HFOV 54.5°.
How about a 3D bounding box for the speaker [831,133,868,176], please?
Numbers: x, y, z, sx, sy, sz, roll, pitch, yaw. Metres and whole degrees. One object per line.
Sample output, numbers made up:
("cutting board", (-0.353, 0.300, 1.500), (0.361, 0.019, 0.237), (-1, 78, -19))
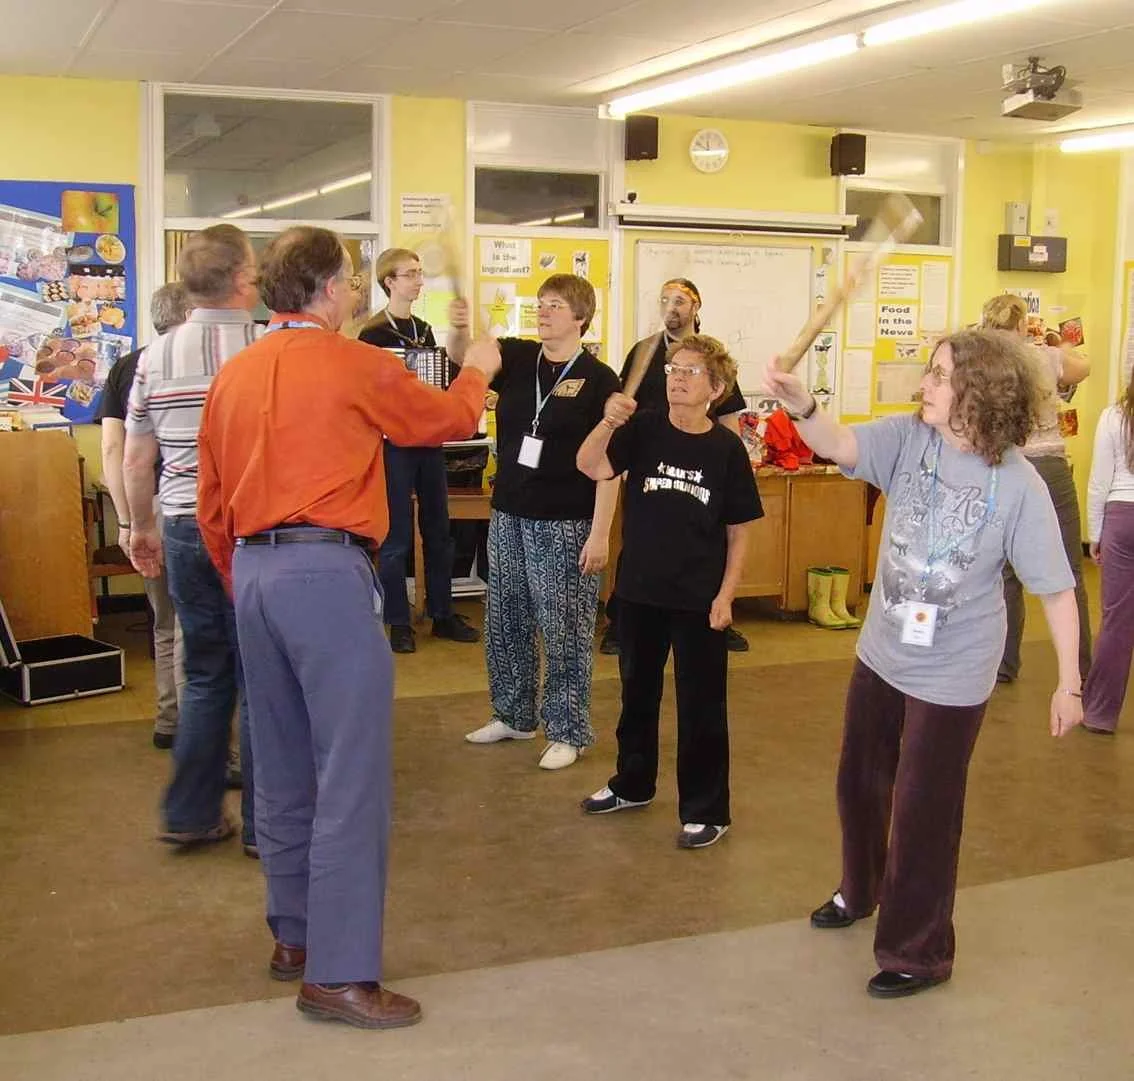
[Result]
("speaker", (2.027, -2.782, 7.931), (0.258, 0.294, 0.166), (1, 8, 4))

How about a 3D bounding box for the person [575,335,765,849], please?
("person", (0.312, 0.152, 3.457), (0.553, 1.568, 0.357), (4, 8, 21))

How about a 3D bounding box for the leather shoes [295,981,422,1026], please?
("leather shoes", (-0.454, 0.978, 2.399), (0.252, 0.099, 0.102), (3, 3, -2))

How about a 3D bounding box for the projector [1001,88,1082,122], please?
("projector", (2.575, -2.383, 6.089), (0.257, 0.053, 0.228), (0, -2, -20))

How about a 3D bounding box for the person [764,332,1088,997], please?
("person", (0.826, 0.279, 2.558), (0.599, 1.527, 0.445), (4, 8, 19))

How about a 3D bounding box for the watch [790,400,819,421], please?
("watch", (0.514, -0.276, 2.408), (0.018, 0.045, 0.048), (41, 31, 8))

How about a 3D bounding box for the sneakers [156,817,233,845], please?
("sneakers", (-1.145, 0.890, 3.376), (0.073, 0.071, 0.193), (8, -2, 30))

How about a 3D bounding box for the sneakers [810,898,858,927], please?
("sneakers", (0.694, 0.971, 2.886), (0.147, 0.052, 0.051), (2, -1, -19))

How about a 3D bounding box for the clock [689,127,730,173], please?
("clock", (0.979, -2.690, 7.612), (0.302, 0.265, 0.060), (-2, 10, -24))

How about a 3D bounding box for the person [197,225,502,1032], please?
("person", (-0.547, 0.181, 2.433), (0.572, 1.723, 0.371), (4, 9, 24))

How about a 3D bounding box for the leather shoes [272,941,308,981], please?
("leather shoes", (-0.655, 0.992, 2.592), (0.058, 0.049, 0.123), (2, 8, -1))

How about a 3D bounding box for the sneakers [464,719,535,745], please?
("sneakers", (-0.286, 0.771, 4.454), (0.297, 0.107, 0.102), (2, 1, -6))

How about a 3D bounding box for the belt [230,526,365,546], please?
("belt", (-0.549, -0.012, 2.299), (0.261, 0.051, 0.107), (-1, 8, -12))

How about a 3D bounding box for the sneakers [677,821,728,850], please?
("sneakers", (0.409, 0.908, 3.402), (0.063, 0.063, 0.171), (-3, -6, 31))

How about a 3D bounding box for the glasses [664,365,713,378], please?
("glasses", (0.366, -0.511, 3.306), (0.137, 0.040, 0.063), (1, 7, 4))

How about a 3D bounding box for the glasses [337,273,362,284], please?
("glasses", (-0.488, -0.582, 2.437), (0.059, 0.015, 0.054), (5, 13, 13))

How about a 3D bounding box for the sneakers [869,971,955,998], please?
("sneakers", (0.796, 1.002, 2.553), (0.190, 0.059, 0.065), (1, 6, -18))

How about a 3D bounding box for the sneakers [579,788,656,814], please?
("sneakers", (0.172, 0.878, 3.738), (0.252, 0.087, 0.085), (3, -1, -12))

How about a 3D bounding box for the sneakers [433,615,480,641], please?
("sneakers", (-0.630, 0.488, 6.222), (0.304, 0.116, 0.112), (4, 7, 37))
